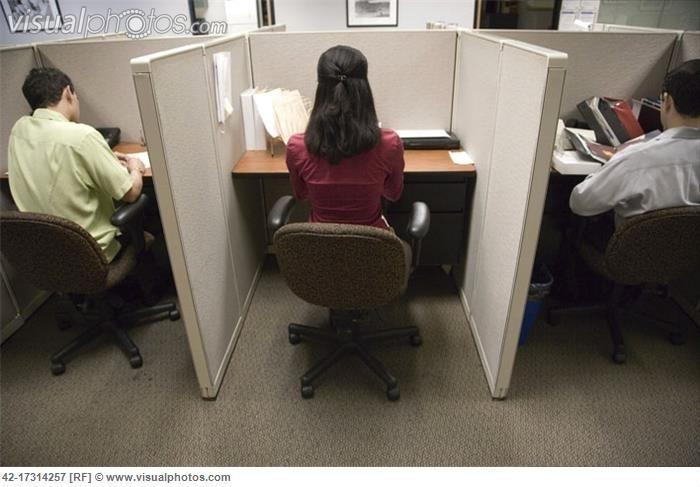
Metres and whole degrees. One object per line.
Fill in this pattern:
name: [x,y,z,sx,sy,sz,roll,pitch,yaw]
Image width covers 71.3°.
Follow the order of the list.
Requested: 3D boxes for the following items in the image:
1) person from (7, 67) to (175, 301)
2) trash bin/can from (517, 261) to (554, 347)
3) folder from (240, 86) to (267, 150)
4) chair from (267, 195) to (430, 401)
person: [-1.250,-0.357,2.289,0.562,0.811,0.445,1,32,4]
trash bin/can: [0.880,0.349,2.427,0.189,0.308,0.217,7,2,15]
folder: [-0.526,-0.687,2.663,0.105,0.340,0.313,-3,9,2]
chair: [0.006,0.157,2.308,0.689,1.036,0.667,-5,36,-3]
